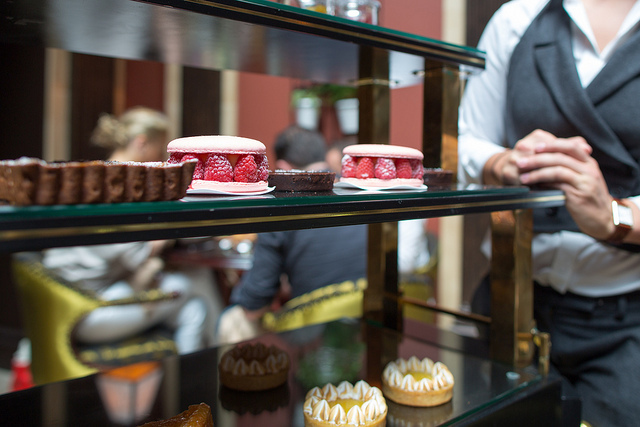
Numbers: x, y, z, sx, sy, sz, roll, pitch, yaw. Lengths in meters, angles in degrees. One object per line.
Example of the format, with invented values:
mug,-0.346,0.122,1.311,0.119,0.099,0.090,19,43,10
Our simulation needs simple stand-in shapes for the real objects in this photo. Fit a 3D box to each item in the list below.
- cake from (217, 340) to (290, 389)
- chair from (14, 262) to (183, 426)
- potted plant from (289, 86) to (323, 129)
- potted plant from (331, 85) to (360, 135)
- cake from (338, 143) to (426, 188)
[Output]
cake,-0.211,0.459,1.685,0.178,0.081,0.187,6,7,-2
chair,-0.682,0.377,1.887,0.347,0.461,0.349,-5,-2,17
potted plant,-0.089,-0.905,4.960,0.353,0.323,0.386,6,10,28
potted plant,0.258,-0.898,5.343,0.327,0.470,0.332,3,-4,-14
cake,0.184,-0.126,1.636,0.160,0.079,0.156,0,2,-34
